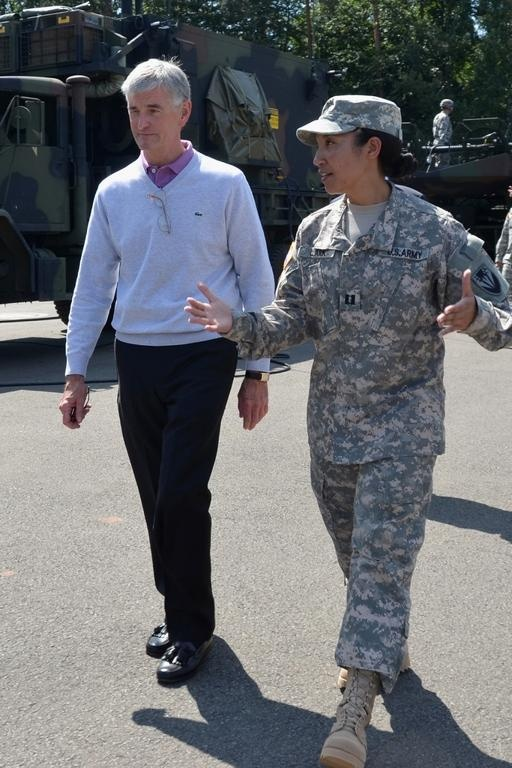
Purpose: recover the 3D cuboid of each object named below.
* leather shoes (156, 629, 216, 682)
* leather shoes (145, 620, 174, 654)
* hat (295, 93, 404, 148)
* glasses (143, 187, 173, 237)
[{"bbox_3d":[-0.216,0.830,2.448,0.066,0.065,0.175,2,1,24],"label":"leather shoes"},{"bbox_3d":[-0.304,0.814,2.590,0.057,0.056,0.144,0,-7,4],"label":"leather shoes"},{"bbox_3d":[0.260,-0.689,2.170,0.246,0.082,0.150,-1,3,-12],"label":"hat"},{"bbox_3d":[-0.293,-0.513,2.465,0.039,0.125,0.078,-6,12,-31],"label":"glasses"}]
